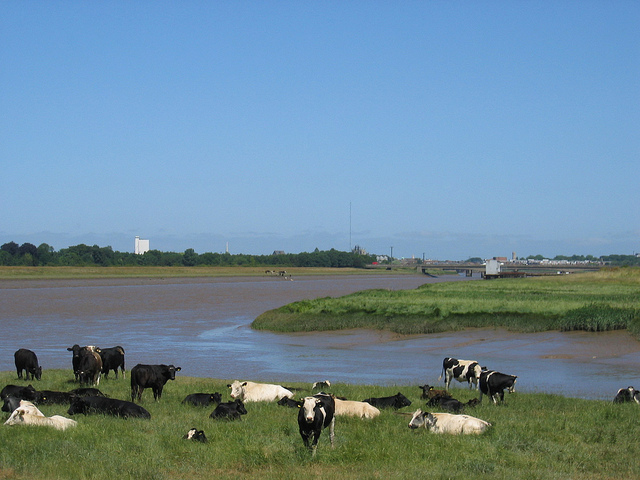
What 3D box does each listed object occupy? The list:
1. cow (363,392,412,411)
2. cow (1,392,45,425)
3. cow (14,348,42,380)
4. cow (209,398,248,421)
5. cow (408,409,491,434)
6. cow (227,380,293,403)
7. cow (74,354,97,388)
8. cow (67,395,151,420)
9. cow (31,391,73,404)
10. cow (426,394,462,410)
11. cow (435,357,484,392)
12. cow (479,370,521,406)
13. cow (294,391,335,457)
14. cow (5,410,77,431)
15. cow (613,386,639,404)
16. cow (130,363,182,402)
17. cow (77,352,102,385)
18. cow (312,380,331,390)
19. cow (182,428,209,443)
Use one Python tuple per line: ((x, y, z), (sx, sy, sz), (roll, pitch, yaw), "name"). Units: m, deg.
((3.034, 7.582, 48.031), (2.202, 1.220, 0.783), (-4, 6, -3), "cow")
((-13.293, 7.371, 45.553), (0.930, 1.330, 2.358), (2, 13, -45), "cow")
((-14.971, 6.403, 53.417), (1.388, 1.460, 1.159), (0, 0, 1), "cow")
((-4.070, 7.628, 46.433), (1.442, 0.860, 0.723), (-13, 9, -25), "cow")
((5.480, 7.918, 44.696), (2.952, 0.926, 3.226), (-9, -6, 30), "cow")
((-2.831, 7.365, 49.892), (2.850, 1.181, 1.183), (6, -13, -8), "cow")
((-11.584, 6.457, 51.871), (0.876, 1.437, 0.495), (0, 0, -29), "cow")
((-9.493, 7.426, 46.026), (3.588, 0.846, 0.618), (0, 0, 11), "cow")
((-12.361, 7.263, 47.658), (1.191, 0.485, 0.625), (-1, 2, -34), "cow")
((5.581, 7.503, 47.343), (1.484, 0.874, 0.582), (4, 4, 10), "cow")
((7.151, 6.618, 52.189), (3.042, 1.745, 1.079), (-4, -3, 45), "cow")
((8.100, 6.973, 48.786), (0.879, 1.530, 2.645), (13, -10, -32), "cow")
((-0.222, 7.683, 42.611), (1.416, 2.722, 4.951), (-1, -11, 7), "cow")
((-11.950, 7.733, 44.559), (2.832, 1.157, 1.573), (3, -5, -6), "cow")
((14.883, 7.516, 50.109), (0.531, 0.824, 1.467), (-13, -19, 41), "cow")
((-7.905, 6.725, 48.709), (1.905, 1.735, 0.867), (0, 0, -12), "cow")
((-11.520, 6.448, 52.178), (0.888, 1.529, 1.643), (1, 0, 16), "cow")
((0.125, 7.180, 51.603), (0.332, 0.534, 0.959), (5, 6, 25), "cow")
((-5.200, 8.235, 43.600), (1.095, 0.638, 0.423), (-2, -3, 20), "cow")
